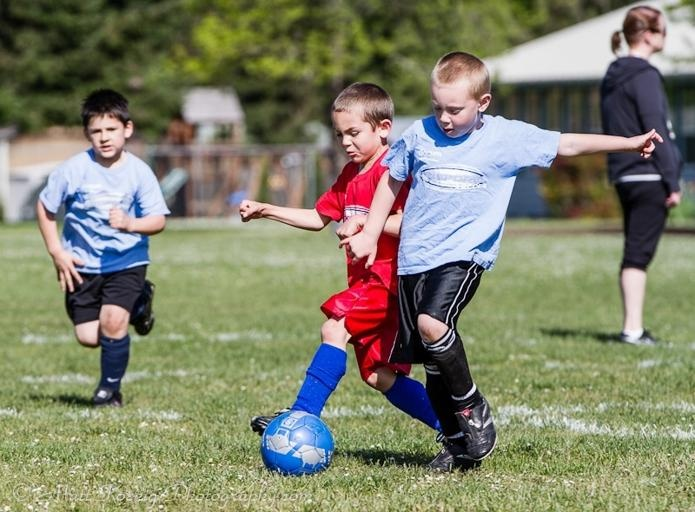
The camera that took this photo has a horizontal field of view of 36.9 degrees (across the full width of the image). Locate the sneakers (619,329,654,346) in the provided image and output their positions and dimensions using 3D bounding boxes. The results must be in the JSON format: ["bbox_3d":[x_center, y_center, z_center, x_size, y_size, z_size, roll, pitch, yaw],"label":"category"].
[{"bbox_3d":[2.347,0.669,8.459,0.276,0.135,0.107,5,3,-4],"label":"sneakers"}]

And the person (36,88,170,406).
[{"bbox_3d":[-1.644,-0.039,7.091,0.857,2.165,0.662,-5,8,-14],"label":"person"}]

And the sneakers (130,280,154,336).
[{"bbox_3d":[-1.438,0.398,7.361,0.137,0.431,0.181,-1,34,-9],"label":"sneakers"}]

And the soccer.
[{"bbox_3d":[-0.273,1.035,5.927,0.345,0.377,0.334,-1,-3,-8],"label":"soccer"}]

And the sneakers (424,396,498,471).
[{"bbox_3d":[0.657,1.042,5.846,0.216,0.280,0.621,-25,14,37],"label":"sneakers"}]

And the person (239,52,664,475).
[{"bbox_3d":[0.665,0.040,5.849,1.298,2.344,0.454,-3,8,-1],"label":"person"}]
